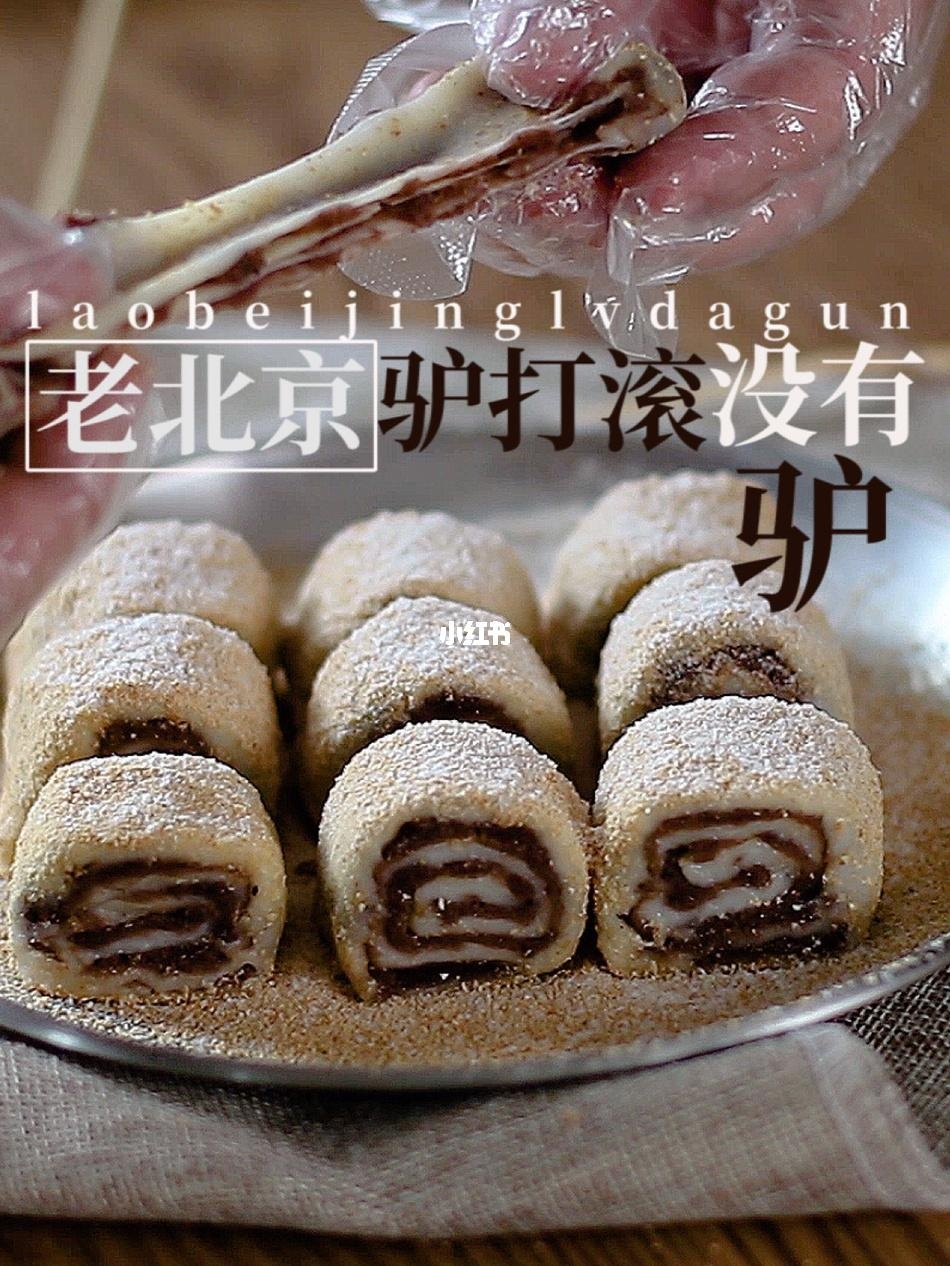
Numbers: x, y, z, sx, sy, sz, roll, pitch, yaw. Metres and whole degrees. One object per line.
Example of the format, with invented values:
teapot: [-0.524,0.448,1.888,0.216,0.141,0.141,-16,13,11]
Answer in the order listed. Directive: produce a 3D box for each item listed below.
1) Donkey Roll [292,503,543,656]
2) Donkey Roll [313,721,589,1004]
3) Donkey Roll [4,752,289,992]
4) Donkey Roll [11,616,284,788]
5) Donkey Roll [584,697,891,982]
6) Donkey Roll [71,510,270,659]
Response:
Donkey Roll: [-0.053,-0.041,0.960,0.125,0.073,0.141,-2,2,19]
Donkey Roll: [-0.009,0.129,0.844,0.178,0.123,0.174,-9,5,1]
Donkey Roll: [-0.193,0.138,0.798,0.182,0.116,0.125,1,30,-9]
Donkey Roll: [-0.197,0.020,0.824,0.149,0.118,0.127,-5,19,-12]
Donkey Roll: [0.156,0.117,0.845,0.214,0.134,0.148,-4,22,1]
Donkey Roll: [-0.221,-0.065,0.998,0.146,0.083,0.140,7,17,-2]
